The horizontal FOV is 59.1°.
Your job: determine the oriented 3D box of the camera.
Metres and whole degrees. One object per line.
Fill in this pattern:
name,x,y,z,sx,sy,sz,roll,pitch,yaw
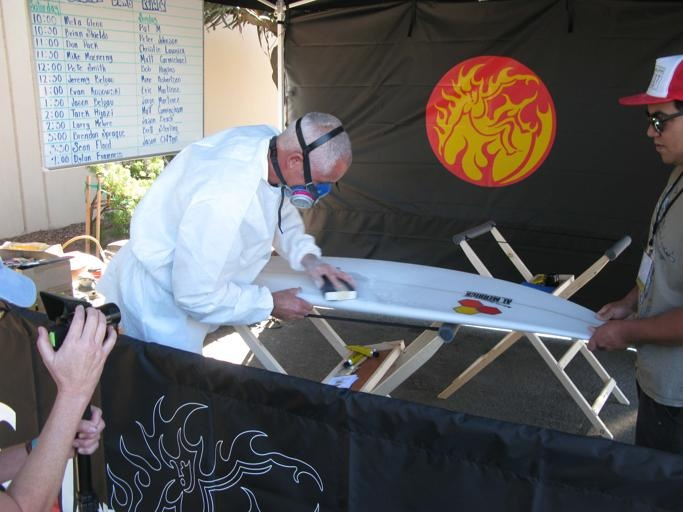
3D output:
camera,-0.921,0.226,2.129,0.304,0.185,0.117,-3,-28,9

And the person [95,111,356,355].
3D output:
person,-0.569,-0.122,3.084,1.211,1.222,0.698,-5,17,-23

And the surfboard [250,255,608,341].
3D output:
surfboard,0.567,0.260,3.716,1.358,0.128,0.404,13,17,19
